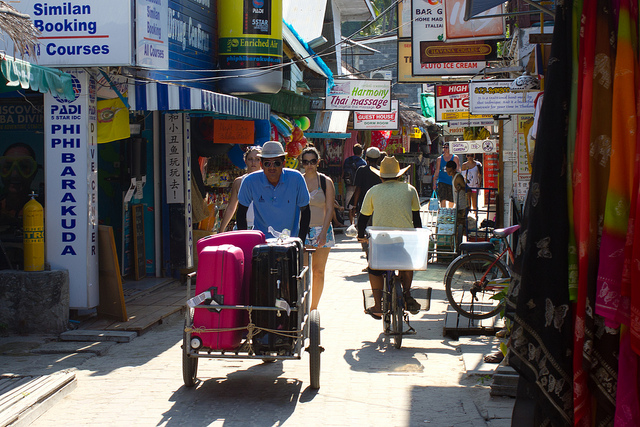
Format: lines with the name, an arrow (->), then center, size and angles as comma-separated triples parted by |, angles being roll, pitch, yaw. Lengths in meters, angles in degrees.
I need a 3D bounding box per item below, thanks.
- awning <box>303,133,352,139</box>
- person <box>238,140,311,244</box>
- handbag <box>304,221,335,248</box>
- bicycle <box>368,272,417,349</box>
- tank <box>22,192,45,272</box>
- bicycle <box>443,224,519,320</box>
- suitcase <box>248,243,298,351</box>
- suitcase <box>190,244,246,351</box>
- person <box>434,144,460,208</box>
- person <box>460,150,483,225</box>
awning -> 0.249, -2.569, 22.622 | 0.376, 0.127, 2.900 | 4, 7, 26
person -> -0.542, 0.082, 7.987 | 0.776, 2.045, 0.532 | -5, 25, -9
handbag -> 0.003, 0.291, 9.034 | 0.348, 0.298, 0.269 | 2, 2, 4
bicycle -> 0.925, 1.184, 8.774 | 0.419, 0.913, 0.779 | -1, 7, -14
tank -> -3.764, 0.237, 9.117 | 0.241, 1.067, 0.246 | 1, -1, -12
bicycle -> 2.214, 0.967, 9.809 | 1.502, 1.153, 0.817 | -8, 6, 9
suitcase -> -0.454, 0.815, 6.667 | 0.478, 1.040, 0.250 | -1, 6, -8
suitcase -> -0.977, 0.815, 6.592 | 0.537, 1.016, 0.288 | -1, 6, -10
person -> 3.710, -0.944, 20.124 | 0.716, 2.340, 0.661 | 1, 21, 11
person -> 4.010, -0.797, 18.505 | 0.612, 1.737, 0.518 | 3, 35, 20
